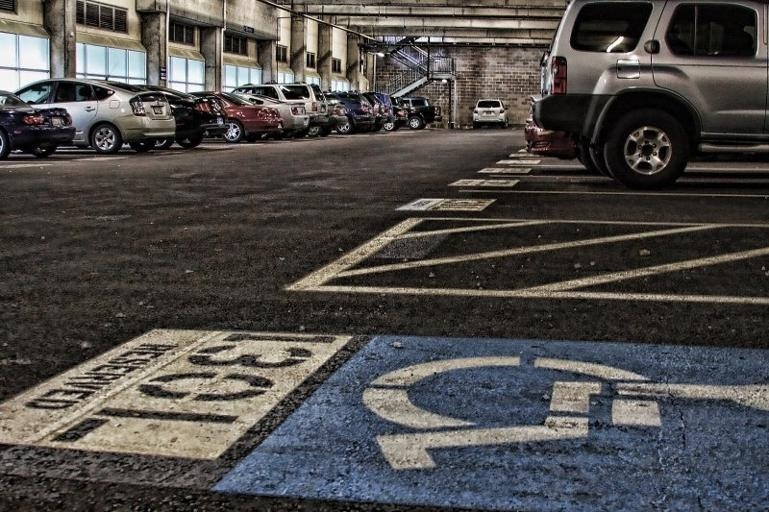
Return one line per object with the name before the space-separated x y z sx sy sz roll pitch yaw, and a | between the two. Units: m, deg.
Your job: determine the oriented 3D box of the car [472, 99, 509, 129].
car | 10.427 -13.654 54.865 2.821 2.617 3.582 3 14 16
